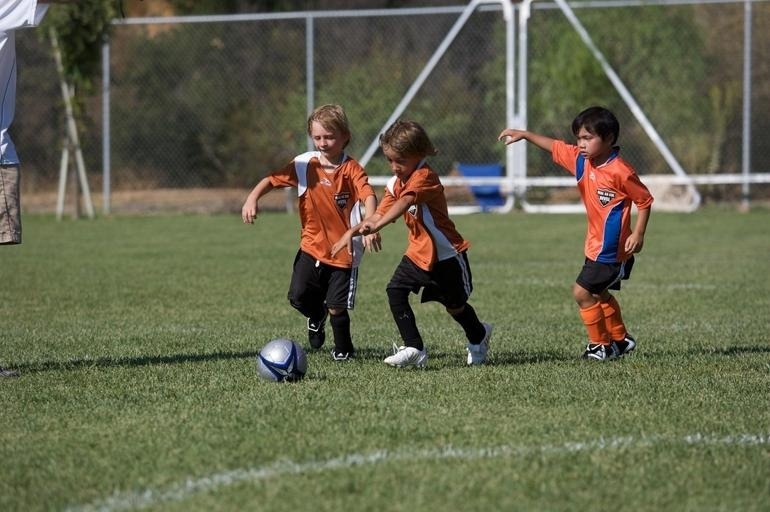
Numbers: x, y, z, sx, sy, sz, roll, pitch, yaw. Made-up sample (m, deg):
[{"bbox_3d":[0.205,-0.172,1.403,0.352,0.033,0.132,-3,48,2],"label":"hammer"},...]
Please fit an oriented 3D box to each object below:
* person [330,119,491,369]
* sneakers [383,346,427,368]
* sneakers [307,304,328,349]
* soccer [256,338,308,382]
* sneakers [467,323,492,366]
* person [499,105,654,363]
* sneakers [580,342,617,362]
[{"bbox_3d":[0.244,-0.088,8.672,0.942,1.951,0.436,-3,5,-16],"label":"person"},{"bbox_3d":[0.191,0.815,8.774,0.386,0.214,0.147,2,0,-9],"label":"sneakers"},{"bbox_3d":[-0.561,0.613,9.066,0.125,0.394,0.163,0,25,-3],"label":"sneakers"},{"bbox_3d":[-0.784,0.833,8.478,0.321,0.332,0.337,-13,-13,1],"label":"soccer"},{"bbox_3d":[0.789,0.769,8.840,0.134,0.404,0.155,12,8,31],"label":"sneakers"},{"bbox_3d":[1.733,-0.188,8.908,0.885,2.033,0.609,0,5,8],"label":"person"},{"bbox_3d":[1.774,0.791,8.874,0.320,0.149,0.119,4,-2,-10],"label":"sneakers"}]
